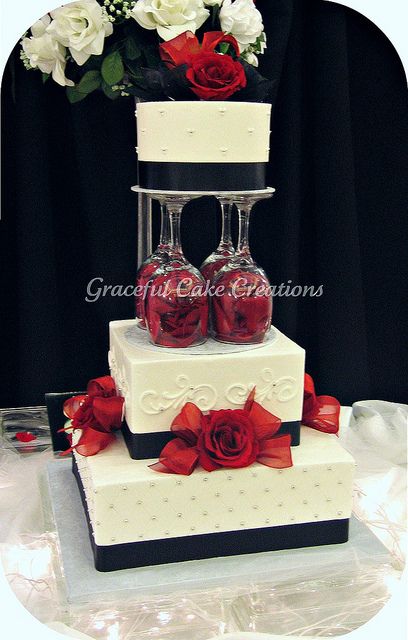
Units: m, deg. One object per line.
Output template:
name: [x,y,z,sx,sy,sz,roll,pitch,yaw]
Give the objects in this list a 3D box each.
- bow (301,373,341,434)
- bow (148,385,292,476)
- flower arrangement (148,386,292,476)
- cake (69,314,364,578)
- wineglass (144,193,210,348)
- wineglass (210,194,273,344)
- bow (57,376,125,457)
bow: [0.313,0.246,1.534,0.096,0.095,0.096,3,10,10]
bow: [0.050,0.252,1.288,0.166,0.086,0.258,-13,10,-37]
flower arrangement: [0.055,0.266,1.254,0.248,0.087,0.169,-2,50,-5]
cake: [0.008,0.290,1.540,0.674,0.431,0.671,-2,9,-1]
wineglass: [-0.065,-0.108,1.306,0.144,0.350,0.124,1,10,1]
wineglass: [0.088,-0.116,1.345,0.147,0.351,0.128,1,10,1]
bow: [-0.274,0.239,1.424,0.125,0.135,0.222,-2,10,-17]
